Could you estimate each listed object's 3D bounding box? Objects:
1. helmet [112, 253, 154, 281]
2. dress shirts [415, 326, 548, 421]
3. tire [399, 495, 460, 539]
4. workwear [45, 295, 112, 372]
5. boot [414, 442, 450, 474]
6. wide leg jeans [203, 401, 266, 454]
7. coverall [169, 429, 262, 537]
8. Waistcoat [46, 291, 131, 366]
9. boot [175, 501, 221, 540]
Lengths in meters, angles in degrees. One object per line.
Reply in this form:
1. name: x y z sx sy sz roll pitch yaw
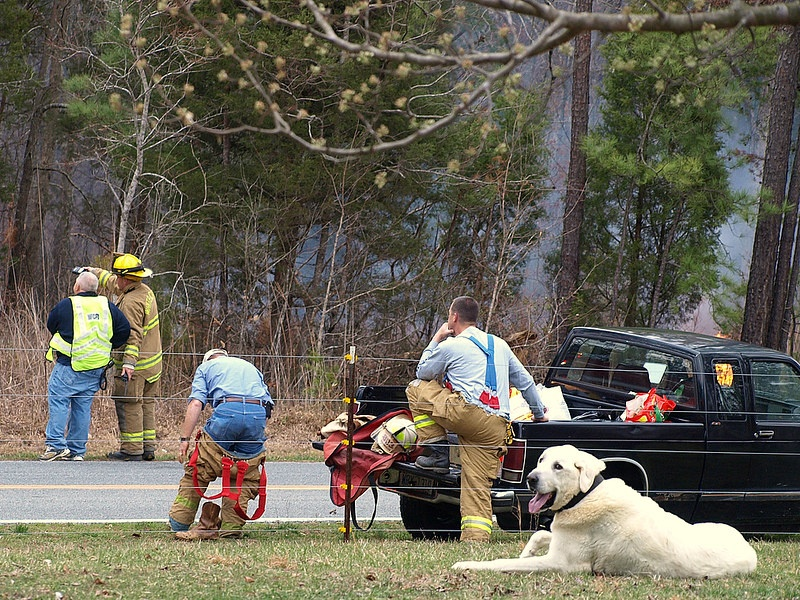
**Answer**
1. helmet: -4.258 -0.515 20.804 0.527 0.259 0.398 -1 12 14
2. dress shirts: 0.962 0.869 16.287 1.558 1.162 1.088 6 -19 -19
3. tire: 0.368 2.797 17.182 0.209 0.600 0.606 -5 -8 41
4. workwear: -4.921 0.515 20.200 1.106 1.276 0.772 1 13 -24
5. boot: 0.420 1.935 16.409 0.521 0.504 0.243 6 -3 10
6. wide leg jeans: -2.089 1.585 16.483 0.523 0.500 0.310 20 -4 -22
7. coverall: -2.303 2.305 16.619 1.079 1.351 0.485 17 3 -3
8. Waistcoat: -4.833 0.498 20.287 1.218 1.195 0.412 3 -3 -14
9. boot: -2.454 2.762 16.428 0.700 0.498 0.285 5 -5 -12
